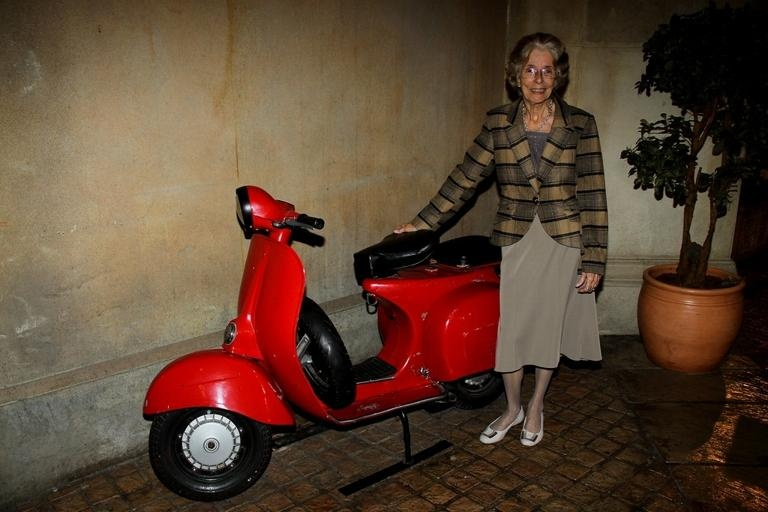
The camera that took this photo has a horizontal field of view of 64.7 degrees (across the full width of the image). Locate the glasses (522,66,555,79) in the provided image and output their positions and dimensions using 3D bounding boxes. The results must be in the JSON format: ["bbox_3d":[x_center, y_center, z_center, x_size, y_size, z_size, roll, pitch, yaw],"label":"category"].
[{"bbox_3d":[1.116,-1.334,4.361,0.201,0.115,0.082,6,36,5],"label":"glasses"}]

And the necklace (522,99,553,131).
[{"bbox_3d":[1.162,-1.059,4.544,0.219,0.226,0.087,5,11,15],"label":"necklace"}]
